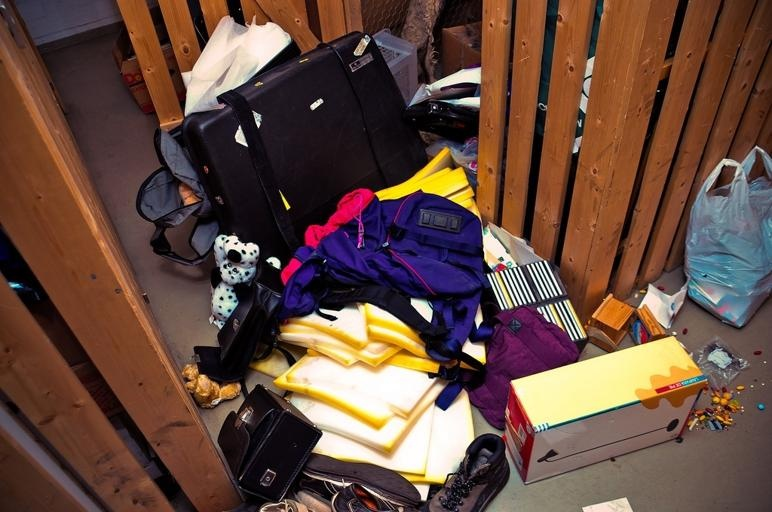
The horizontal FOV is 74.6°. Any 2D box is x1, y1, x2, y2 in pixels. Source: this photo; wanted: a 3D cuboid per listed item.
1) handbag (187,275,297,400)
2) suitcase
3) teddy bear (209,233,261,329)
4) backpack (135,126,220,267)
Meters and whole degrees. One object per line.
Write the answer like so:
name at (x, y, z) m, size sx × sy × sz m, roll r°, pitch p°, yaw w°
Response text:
handbag at (-0.601, 0.454, 2.491) m, size 0.220 × 0.533 × 0.517 m, roll 28°, pitch 3°, yaw -17°
suitcase at (-0.436, -0.495, 2.600) m, size 1.089 × 1.003 × 0.420 m, roll -37°, pitch 24°, yaw -21°
teddy bear at (-0.716, 0.115, 2.434) m, size 0.234 × 0.432 × 0.170 m, roll 34°, pitch 35°, yaw 17°
backpack at (-1.002, -0.256, 2.640) m, size 0.454 × 0.658 × 0.256 m, roll 33°, pitch 10°, yaw 19°
